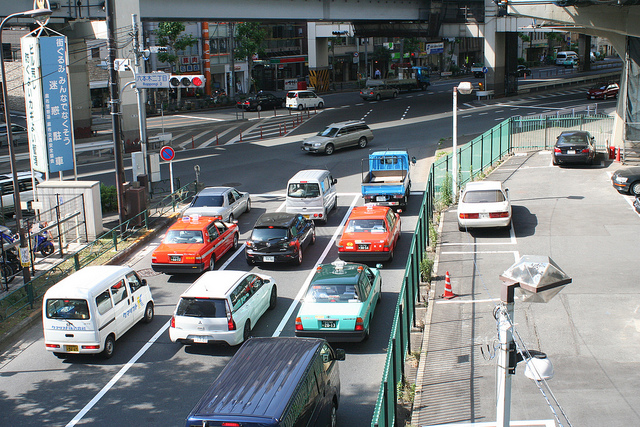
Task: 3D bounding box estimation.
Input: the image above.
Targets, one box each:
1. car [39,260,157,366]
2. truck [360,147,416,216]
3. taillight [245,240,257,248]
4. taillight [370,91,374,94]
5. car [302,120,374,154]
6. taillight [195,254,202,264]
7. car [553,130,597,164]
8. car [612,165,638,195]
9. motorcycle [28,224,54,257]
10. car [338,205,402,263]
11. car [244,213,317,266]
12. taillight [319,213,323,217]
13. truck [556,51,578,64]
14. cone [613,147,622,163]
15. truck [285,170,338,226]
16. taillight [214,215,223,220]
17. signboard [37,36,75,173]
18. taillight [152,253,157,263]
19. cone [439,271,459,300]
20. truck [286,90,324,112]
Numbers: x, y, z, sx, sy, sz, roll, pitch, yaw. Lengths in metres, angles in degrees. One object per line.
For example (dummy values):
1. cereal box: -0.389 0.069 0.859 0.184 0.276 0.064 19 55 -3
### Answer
1. car: -8.345 3.552 28.352 2.521 2.678 4.465 2 18 18
2. truck: 3.671 -1.546 39.755 2.066 2.356 4.138 0 23 9
3. taillight: -3.043 1.380 32.610 0.332 0.173 0.215 6 12 -11
4. taillight: 5.526 -12.721 77.620 0.398 0.290 0.122 -8 13 -14
5. car: 1.142 -5.514 52.871 4.721 1.850 2.121 -17 24 -37
6. taillight: -5.209 2.007 31.679 0.197 0.210 0.386 0 17 2
7. car: 14.717 -3.702 42.591 2.218 1.879 1.637 -3 13 10
8. car: 15.604 -1.603 37.552 1.521 0.664 0.870 -9 34 6
9. motorcycle: -12.893 1.360 34.284 1.467 1.075 0.913 0 16 -5
10. car: 2.135 1.015 32.992 2.304 2.280 2.631 -1 13 16
11. car: -1.650 1.242 33.286 1.994 2.124 3.289 6 17 39
12. taillight: 0.042 0.113 37.008 0.139 0.099 0.139 4 14 14
13. truck: 40.905 -26.309 122.444 4.085 2.155 2.362 -28 29 -36
14. cone: 17.654 -3.450 43.849 0.588 0.903 0.623 0 18 40
15. truck: -0.462 -0.871 37.629 1.687 1.838 3.147 2 26 12
16. taillight: -5.023 0.229 36.483 0.329 0.279 0.469 -4 13 6
17. signboard: -13.133 -5.437 36.755 1.495 7.192 0.246 -3 -11 -22
18. taillight: -7.134 1.954 31.773 0.245 0.415 0.077 3 14 30
19. cone: 5.034 2.823 28.867 0.709 1.047 0.472 -7 12 -8
20. truck: -1.514 -11.282 72.462 3.029 1.661 1.878 -12 25 -21
